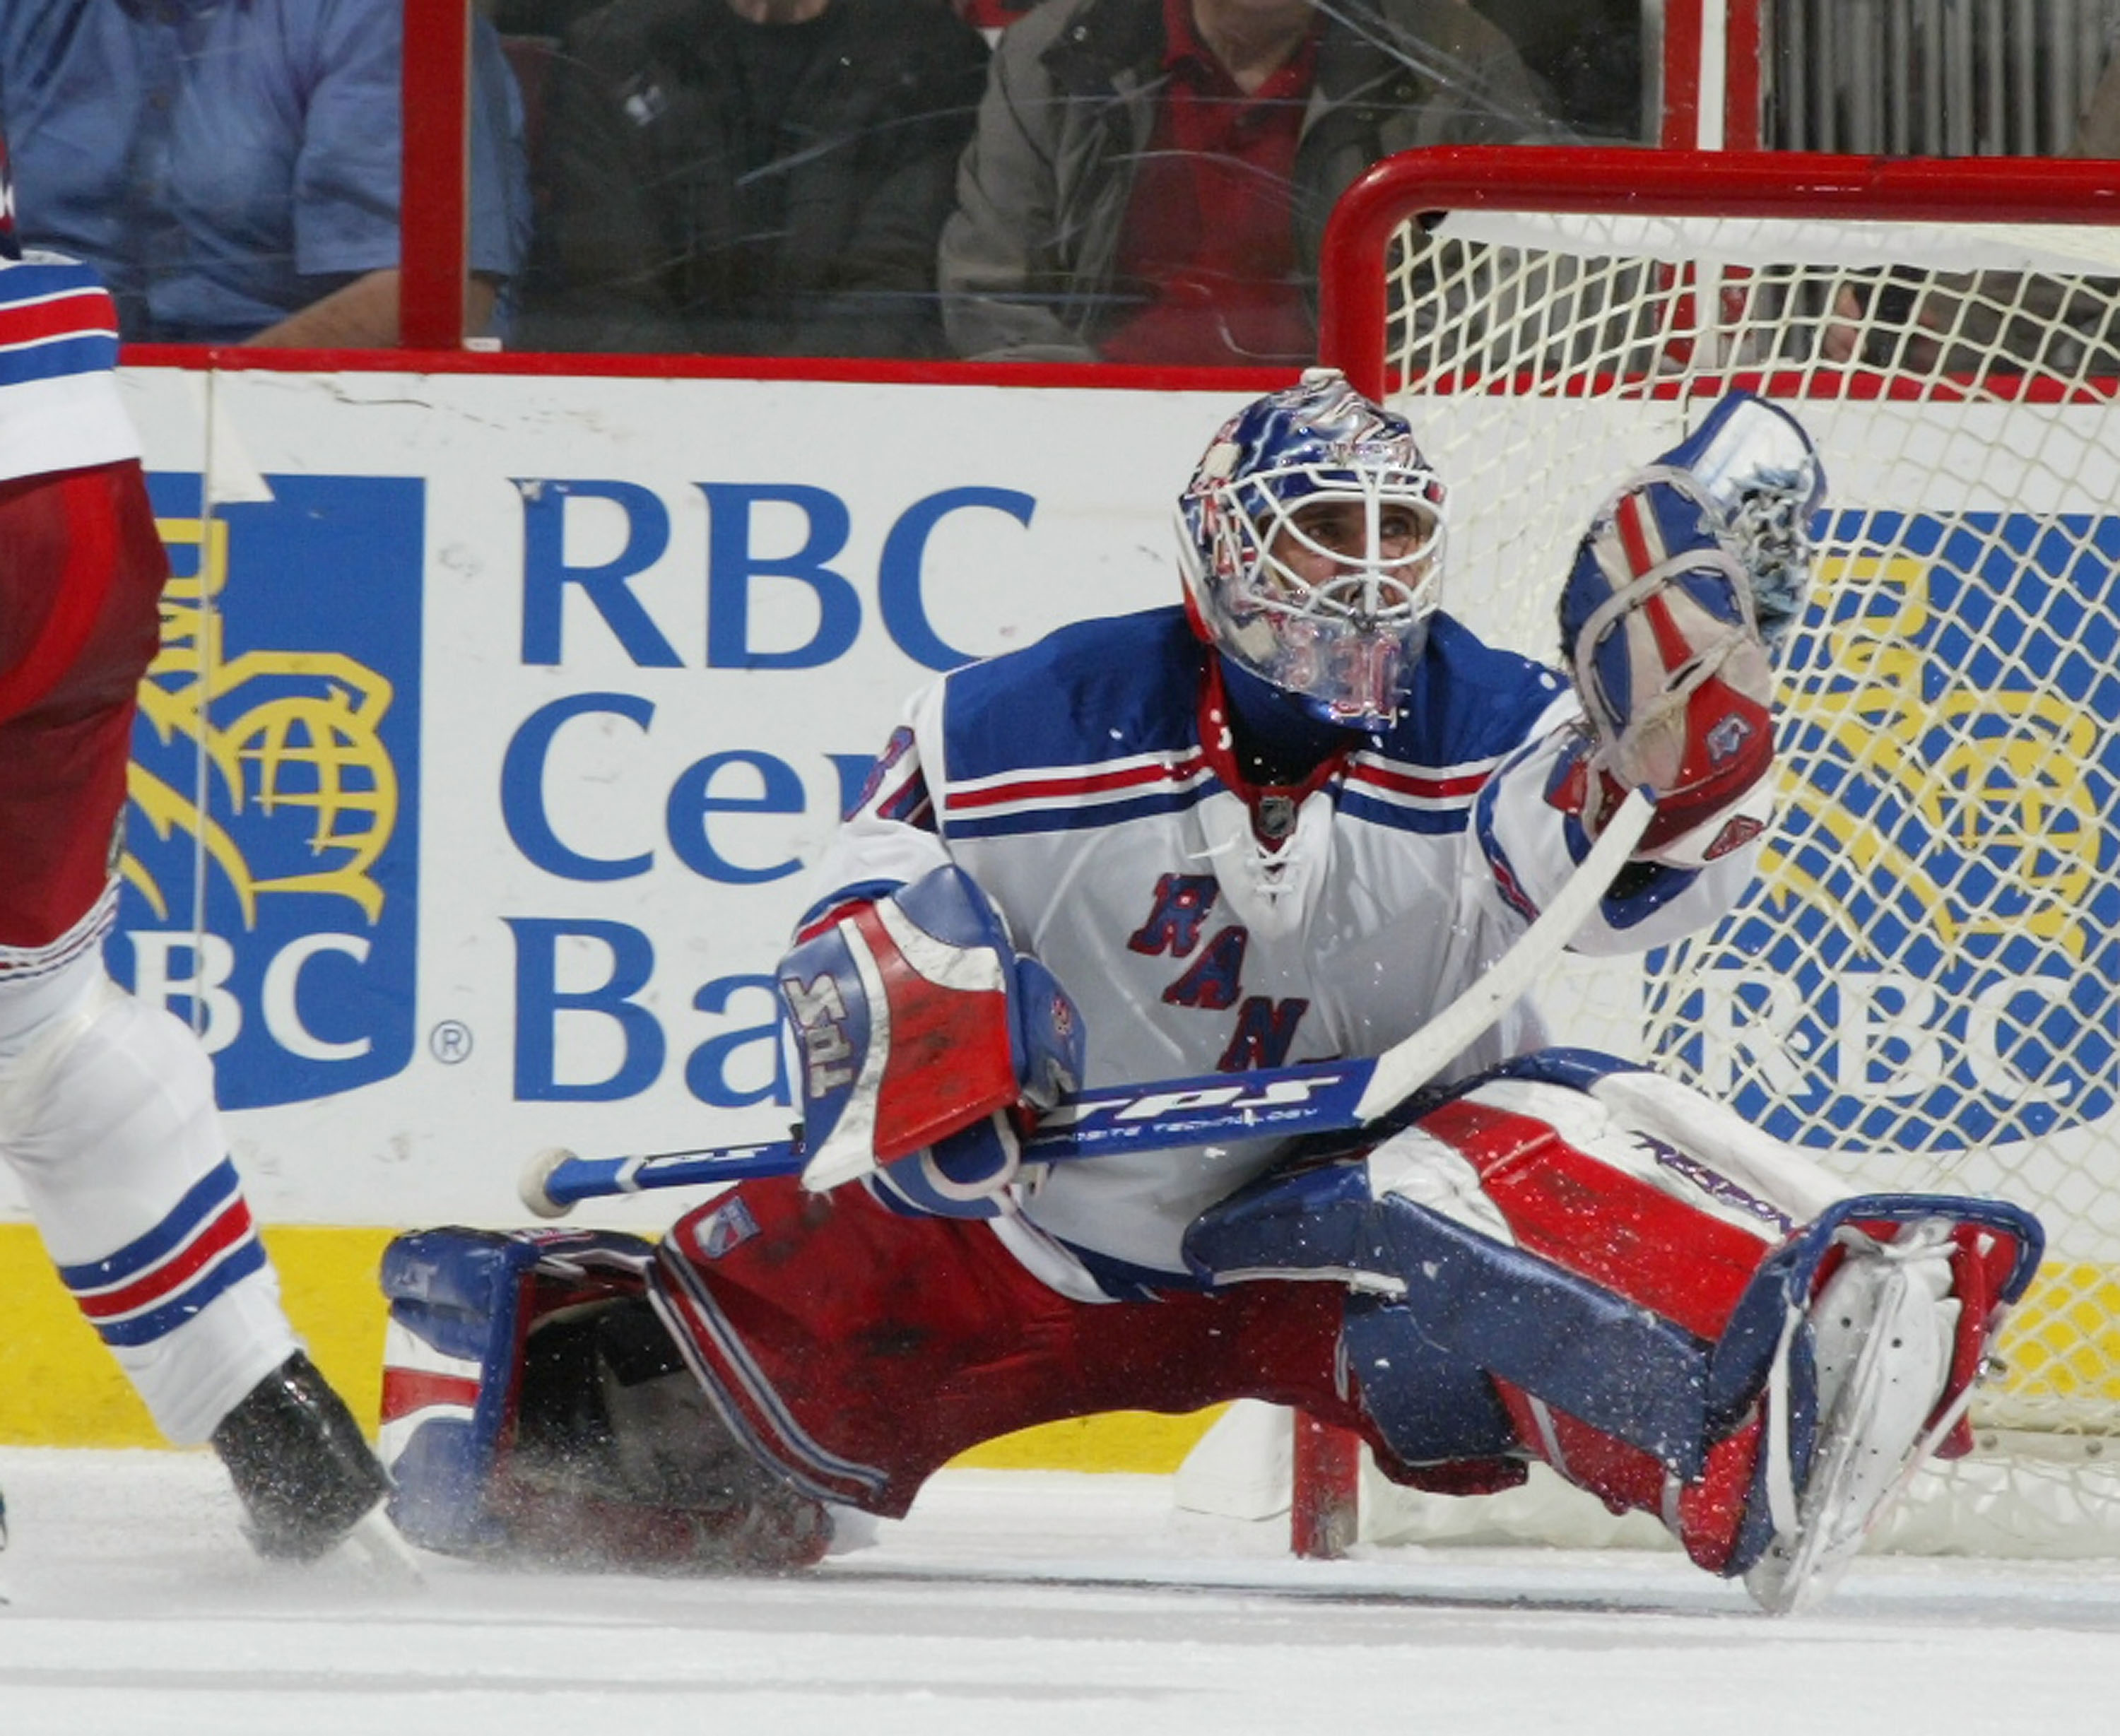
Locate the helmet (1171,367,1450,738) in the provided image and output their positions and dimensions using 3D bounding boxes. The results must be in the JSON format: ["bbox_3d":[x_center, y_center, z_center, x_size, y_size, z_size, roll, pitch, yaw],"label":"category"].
[{"bbox_3d":[0.280,-0.344,5.356,0.301,0.345,0.382,-2,14,-8],"label":"helmet"}]
